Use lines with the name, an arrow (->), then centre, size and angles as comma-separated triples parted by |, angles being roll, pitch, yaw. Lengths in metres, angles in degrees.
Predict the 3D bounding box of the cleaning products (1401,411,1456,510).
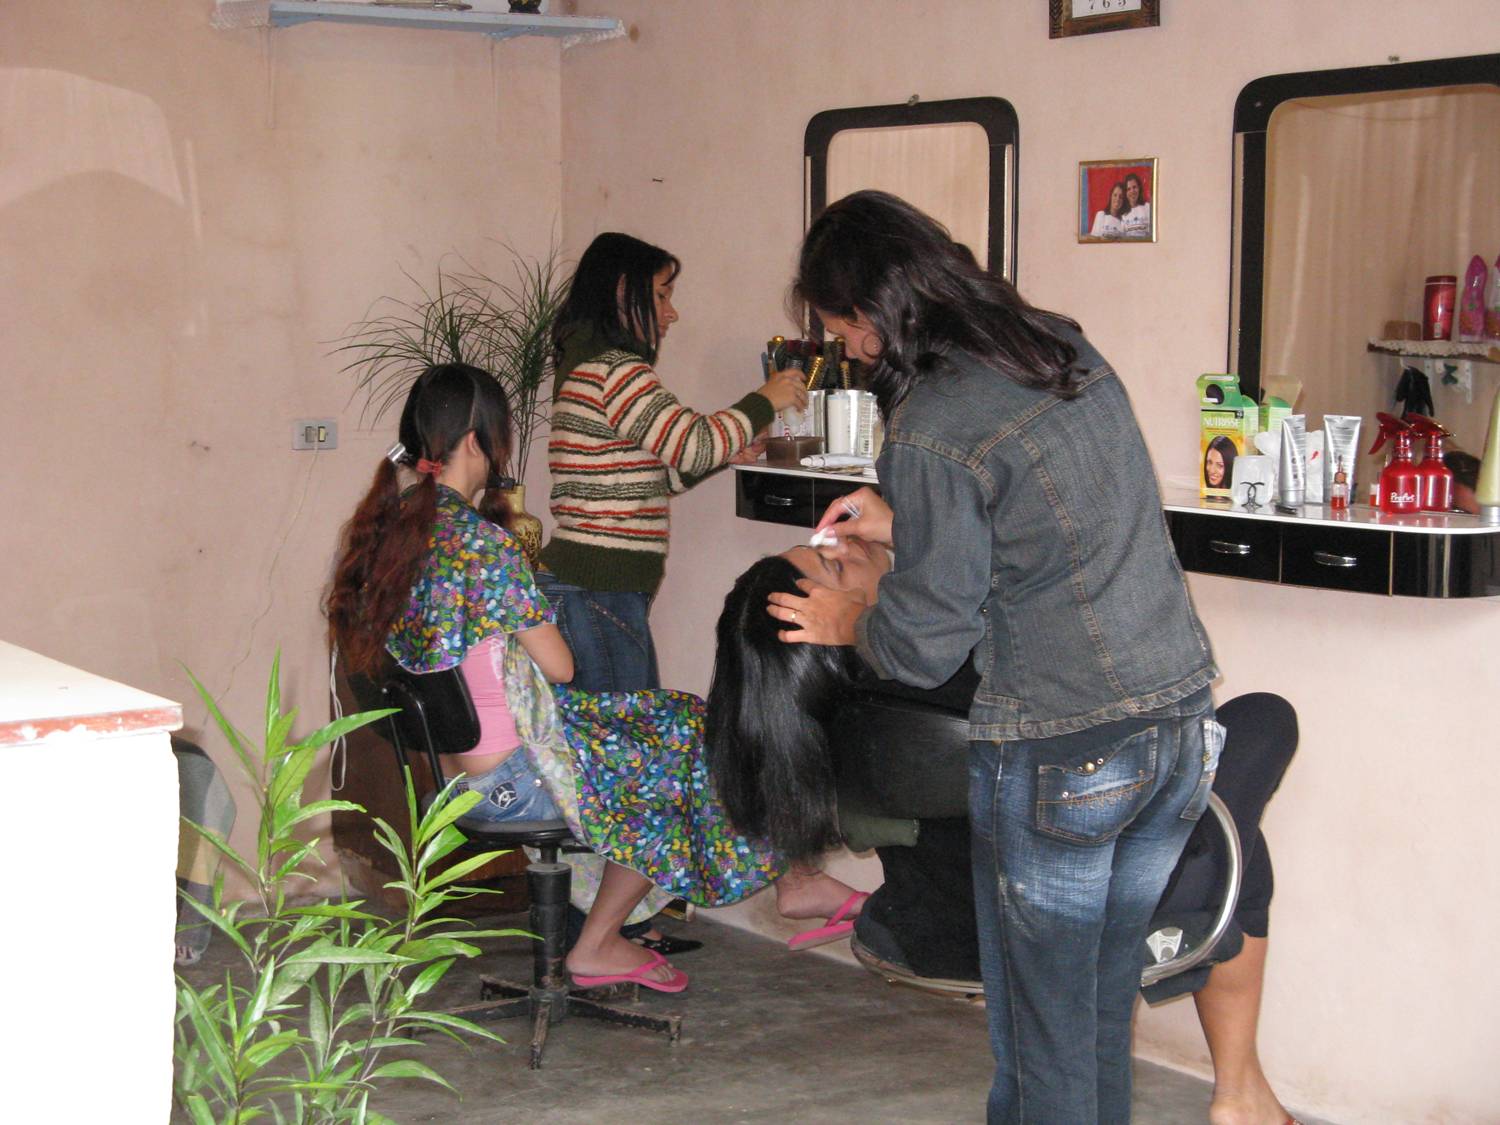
cleaning products -> 1.251, -0.190, 2.714 | 0.086, 0.165, 0.123 | 2, 10, 10

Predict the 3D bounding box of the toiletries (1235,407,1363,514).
toiletries -> 1.031, -0.168, 2.825 | 0.238, 0.226, 0.187 | 2, -1, -12

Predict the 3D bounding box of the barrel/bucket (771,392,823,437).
barrel/bucket -> 0.130, -0.366, 3.596 | 0.108, 0.105, 0.188 | 4, 7, 21

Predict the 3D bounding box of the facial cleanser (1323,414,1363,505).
facial cleanser -> 1.107, -0.191, 2.754 | 0.064, 0.164, 0.086 | 1, 10, 4

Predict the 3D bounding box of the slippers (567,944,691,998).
slippers -> -0.270, 0.946, 3.353 | 0.240, 0.070, 0.117 | 0, 5, -15

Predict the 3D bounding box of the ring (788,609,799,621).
ring -> 0.067, 0.081, 2.321 | 0.018, 0.016, 0.004 | -1, -7, 23

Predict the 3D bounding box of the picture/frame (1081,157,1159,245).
picture/frame -> 0.793, -0.777, 3.132 | 0.014, 0.163, 0.190 | -6, 12, -45

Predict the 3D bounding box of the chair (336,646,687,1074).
chair -> -0.481, 0.576, 3.470 | 0.844, 1.122, 0.832 | -1, 3, -11

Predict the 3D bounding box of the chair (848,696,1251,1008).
chair -> 0.460, 0.427, 2.610 | 0.620, 0.568, 0.476 | -2, 4, -10
